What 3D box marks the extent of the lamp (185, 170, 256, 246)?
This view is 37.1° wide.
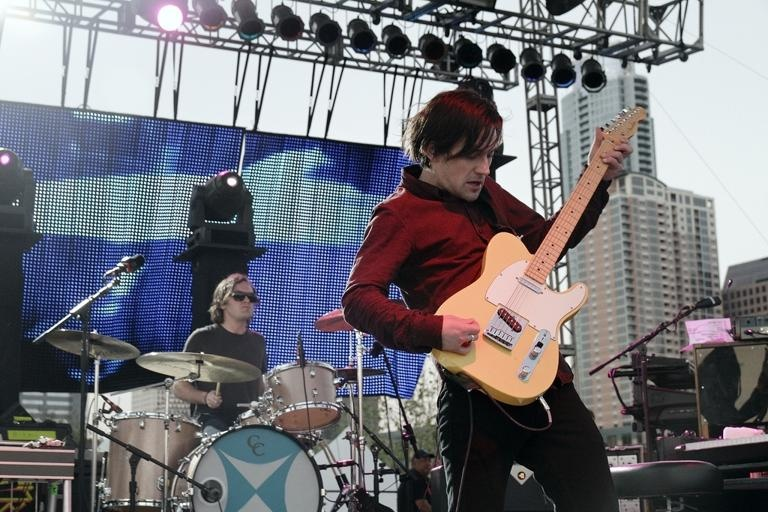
[{"bbox_3d":[-2.168,-0.606,14.901,1.023,1.247,0.843,6,-13,-21],"label":"lamp"}]

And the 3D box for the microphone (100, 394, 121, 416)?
[{"bbox_3d":[-3.263,1.723,13.333,0.373,0.159,0.065,45,18,25],"label":"microphone"}]

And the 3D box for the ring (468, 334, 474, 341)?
[{"bbox_3d":[0.717,0.669,9.391,0.060,0.049,0.021,11,-15,-40],"label":"ring"}]
